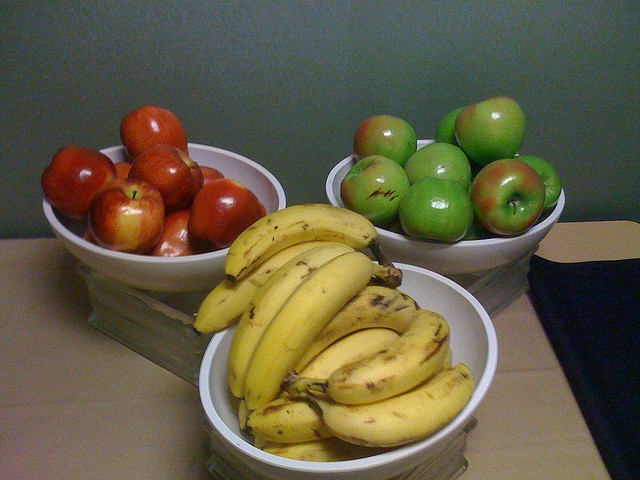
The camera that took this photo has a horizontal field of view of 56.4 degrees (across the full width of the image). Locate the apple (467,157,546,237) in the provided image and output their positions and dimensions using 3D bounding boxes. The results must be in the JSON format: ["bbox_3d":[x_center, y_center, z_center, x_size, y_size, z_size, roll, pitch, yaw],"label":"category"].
[{"bbox_3d":[0.336,-0.068,1.134,0.125,0.136,0.132,4,19,-12],"label":"apple"}]

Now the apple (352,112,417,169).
[{"bbox_3d":[0.137,-0.195,1.253,0.101,0.103,0.110,6,88,-22],"label":"apple"}]

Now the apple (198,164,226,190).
[{"bbox_3d":[-0.212,-0.124,1.165,0.043,0.025,0.046,13,15,37],"label":"apple"}]

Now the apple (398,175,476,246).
[{"bbox_3d":[0.214,-0.048,1.102,0.134,0.126,0.129,6,80,-23],"label":"apple"}]

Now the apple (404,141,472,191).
[{"bbox_3d":[0.228,-0.146,1.142,0.096,0.094,0.100,-9,79,10],"label":"apple"}]

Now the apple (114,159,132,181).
[{"bbox_3d":[-0.380,-0.138,1.162,0.043,0.028,0.053,-3,50,-14],"label":"apple"}]

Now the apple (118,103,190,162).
[{"bbox_3d":[-0.316,-0.208,1.218,0.103,0.105,0.130,-26,95,-2],"label":"apple"}]

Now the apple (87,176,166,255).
[{"bbox_3d":[-0.339,-0.040,1.085,0.121,0.132,0.124,18,8,30],"label":"apple"}]

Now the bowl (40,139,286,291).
[{"bbox_3d":[-0.240,0.017,1.118,0.338,0.145,0.349,7,33,-4],"label":"bowl"}]
